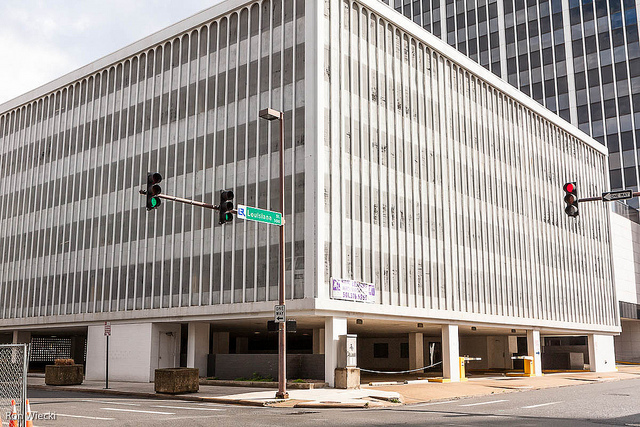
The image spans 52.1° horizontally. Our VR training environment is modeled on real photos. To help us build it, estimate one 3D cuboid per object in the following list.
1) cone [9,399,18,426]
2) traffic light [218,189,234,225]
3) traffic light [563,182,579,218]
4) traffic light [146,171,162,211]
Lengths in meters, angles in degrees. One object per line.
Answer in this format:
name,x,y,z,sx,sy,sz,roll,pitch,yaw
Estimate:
cone,-13.642,8.845,29.088,0.311,1.118,0.886,5,-16,-23
traffic light,-5.244,-0.363,36.679,0.699,1.735,0.651,1,-15,-9
traffic light,13.291,-0.777,34.483,0.604,1.775,0.567,-3,2,33
traffic light,-8.757,-1.280,34.497,0.671,2.071,1.028,2,-15,-14
